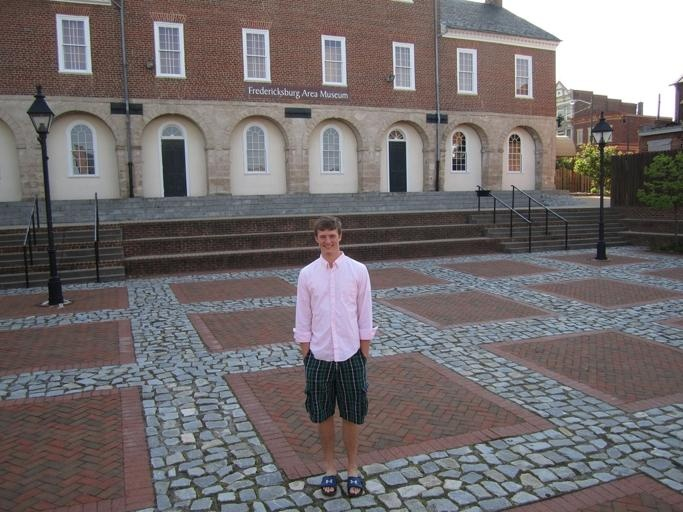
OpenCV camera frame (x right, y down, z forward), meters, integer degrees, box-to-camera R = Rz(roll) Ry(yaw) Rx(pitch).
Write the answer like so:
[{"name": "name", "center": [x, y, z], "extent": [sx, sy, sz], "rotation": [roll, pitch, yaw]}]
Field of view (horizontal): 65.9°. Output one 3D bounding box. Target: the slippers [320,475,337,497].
[{"name": "slippers", "center": [-0.122, 2.190, 5.040], "extent": [0.119, 0.071, 0.214], "rotation": [1, -7, -1]}]

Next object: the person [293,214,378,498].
[{"name": "person", "center": [-0.066, 0.959, 5.035], "extent": [0.755, 2.613, 0.588], "rotation": [0, 12, 7]}]
